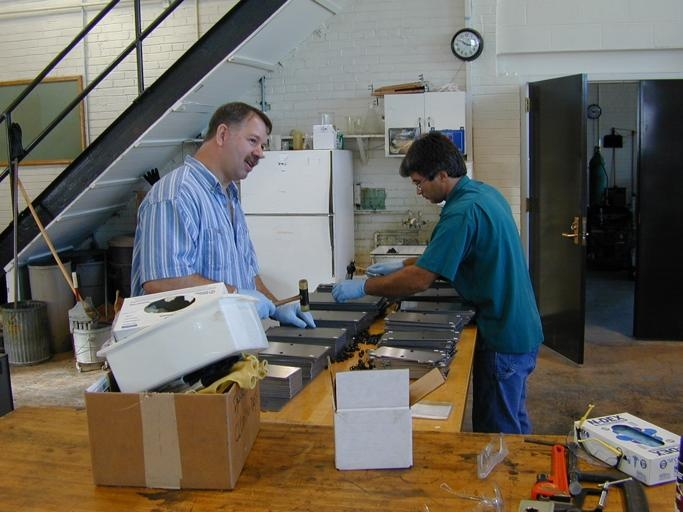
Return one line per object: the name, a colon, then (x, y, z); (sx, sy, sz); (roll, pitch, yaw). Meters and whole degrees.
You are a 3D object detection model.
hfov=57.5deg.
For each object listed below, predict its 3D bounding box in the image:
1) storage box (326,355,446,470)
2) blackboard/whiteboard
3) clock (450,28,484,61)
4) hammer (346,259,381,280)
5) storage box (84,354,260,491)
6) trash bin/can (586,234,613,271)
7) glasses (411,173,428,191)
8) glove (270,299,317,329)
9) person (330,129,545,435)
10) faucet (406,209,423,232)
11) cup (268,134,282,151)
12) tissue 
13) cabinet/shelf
storage box: (0.132, 0.541, 2.060); (0.362, 0.315, 0.212); (0, 1, -1)
blackboard/whiteboard: (-3.004, -1.348, 6.278); (1.056, 0.801, 0.044); (-8, -10, 12)
clock: (1.208, -2.051, 6.024); (0.294, 0.307, 0.300); (4, -8, 10)
hammer: (0.104, 0.094, 3.861); (0.241, 0.141, 0.147); (-2, 4, 17)
storage box: (-0.569, 0.579, 2.124); (0.437, 0.285, 0.445); (1, 6, 7)
trash bin/can: (3.620, -0.073, 8.748); (0.283, 0.567, 0.430); (0, 6, 22)
glasses: (0.399, -0.378, 3.179); (0.025, 0.084, 0.079); (-3, 14, -33)
glove: (-0.242, 0.296, 3.081); (0.286, 0.169, 0.134); (2, -20, -5)
person: (0.851, 0.100, 4.114); (1.327, 2.409, 1.088); (2, 3, 13)
faucet: (0.757, -0.362, 6.452); (0.219, 0.228, 0.160); (1, -1, 14)
cup: (-0.666, -1.100, 6.054); (0.157, 0.188, 0.159); (2, 1, 0)
tissue : (0.971, 0.626, 2.090); (0.200, 0.098, 0.289); (1, 11, -10)
cabinet/shelf: (0.777, -1.178, 6.062); (0.802, 0.592, 0.472); (0, -8, -10)
